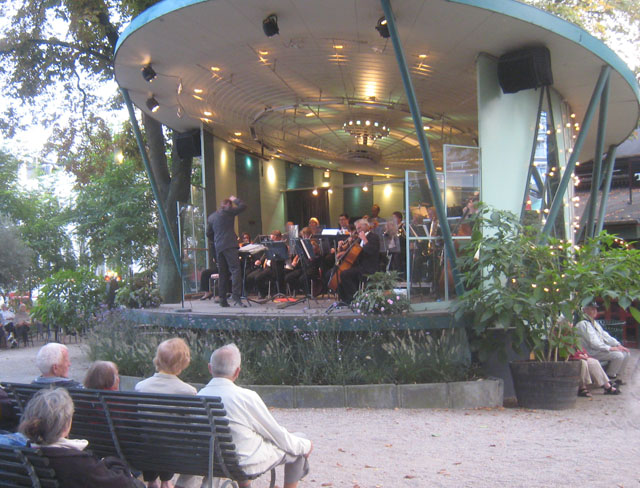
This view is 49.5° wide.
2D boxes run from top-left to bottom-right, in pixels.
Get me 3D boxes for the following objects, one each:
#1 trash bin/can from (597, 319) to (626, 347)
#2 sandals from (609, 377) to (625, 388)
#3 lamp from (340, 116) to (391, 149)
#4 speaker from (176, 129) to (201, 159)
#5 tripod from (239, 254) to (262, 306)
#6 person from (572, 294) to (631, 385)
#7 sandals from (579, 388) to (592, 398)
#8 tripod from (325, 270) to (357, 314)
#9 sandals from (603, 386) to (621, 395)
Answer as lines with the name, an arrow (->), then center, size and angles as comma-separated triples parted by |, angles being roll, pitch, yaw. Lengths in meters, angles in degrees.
trash bin/can -> 7.484, 2.174, 17.823 | 0.696, 0.724, 0.853 | 0, -1, -7
sandals -> 5.666, 2.643, 13.287 | 0.497, 0.244, 0.162 | 1, -1, -32
lamp -> 1.269, -3.048, 19.051 | 1.187, 0.558, 0.866 | 3, -5, -36
speaker -> -3.476, -2.655, 18.398 | 0.402, 0.489, 0.462 | -6, -49, 23
tripod -> -1.688, 0.765, 16.423 | 0.279, 1.000, 0.625 | 3, 3, -26
person -> 5.223, 1.922, 13.445 | 0.904, 2.178, 1.224 | 6, 4, 42
sandals -> 4.761, 2.660, 12.484 | 0.281, 0.118, 0.110 | -3, -1, 24
tripod -> 0.462, 0.943, 13.416 | 0.273, 0.897, 0.442 | 14, -2, -30
sandals -> 5.355, 2.657, 12.649 | 0.243, 0.132, 0.138 | -2, -3, -9
